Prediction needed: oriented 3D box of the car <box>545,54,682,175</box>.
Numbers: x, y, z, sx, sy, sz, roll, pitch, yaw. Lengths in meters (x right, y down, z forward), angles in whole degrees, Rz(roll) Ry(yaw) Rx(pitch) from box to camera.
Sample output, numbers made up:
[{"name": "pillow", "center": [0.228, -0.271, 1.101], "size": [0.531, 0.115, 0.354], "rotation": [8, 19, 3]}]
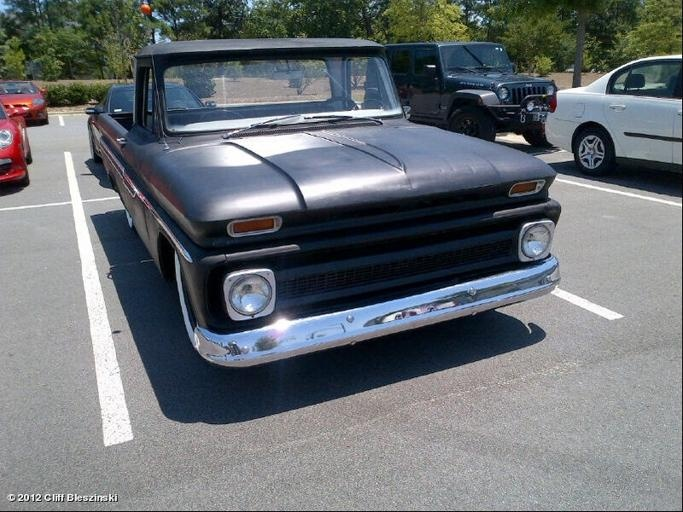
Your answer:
[{"name": "car", "center": [4.788, -2.214, 8.120], "size": [1.249, 1.122, 2.590], "rotation": [-14, 16, -33]}]

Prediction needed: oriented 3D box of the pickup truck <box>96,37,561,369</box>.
[{"name": "pickup truck", "center": [-0.662, -0.753, 4.371], "size": [2.112, 1.270, 3.882], "rotation": [-11, 21, -26]}]

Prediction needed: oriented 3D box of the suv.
[{"name": "suv", "center": [2.462, -3.717, 11.857], "size": [2.745, 2.288, 4.978], "rotation": [-17, 29, -29]}]
